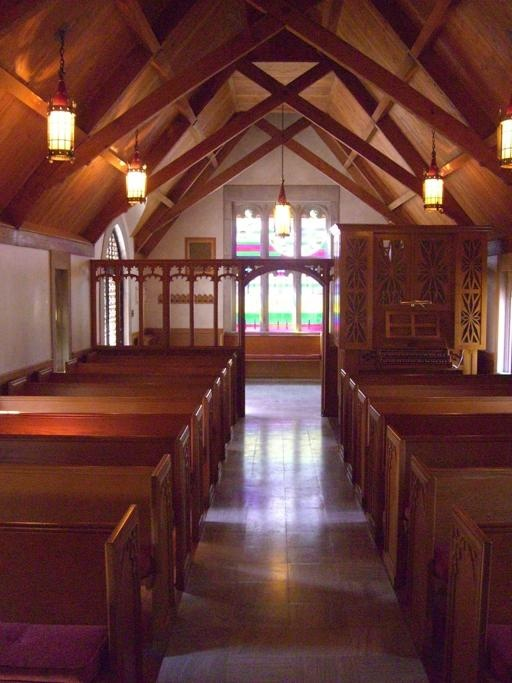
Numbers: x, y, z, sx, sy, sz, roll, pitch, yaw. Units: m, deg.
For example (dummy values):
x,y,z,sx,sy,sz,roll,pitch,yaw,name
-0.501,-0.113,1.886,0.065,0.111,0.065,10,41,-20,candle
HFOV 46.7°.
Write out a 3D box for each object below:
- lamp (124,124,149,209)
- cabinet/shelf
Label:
x,y,z,sx,sy,sz,roll,pitch,yaw,name
-1.168,-1.677,5.746,0.181,0.703,0.430,-2,3,-12,lamp
1.850,-0.565,6.910,1.599,1.587,0.621,0,-7,29,cabinet/shelf
